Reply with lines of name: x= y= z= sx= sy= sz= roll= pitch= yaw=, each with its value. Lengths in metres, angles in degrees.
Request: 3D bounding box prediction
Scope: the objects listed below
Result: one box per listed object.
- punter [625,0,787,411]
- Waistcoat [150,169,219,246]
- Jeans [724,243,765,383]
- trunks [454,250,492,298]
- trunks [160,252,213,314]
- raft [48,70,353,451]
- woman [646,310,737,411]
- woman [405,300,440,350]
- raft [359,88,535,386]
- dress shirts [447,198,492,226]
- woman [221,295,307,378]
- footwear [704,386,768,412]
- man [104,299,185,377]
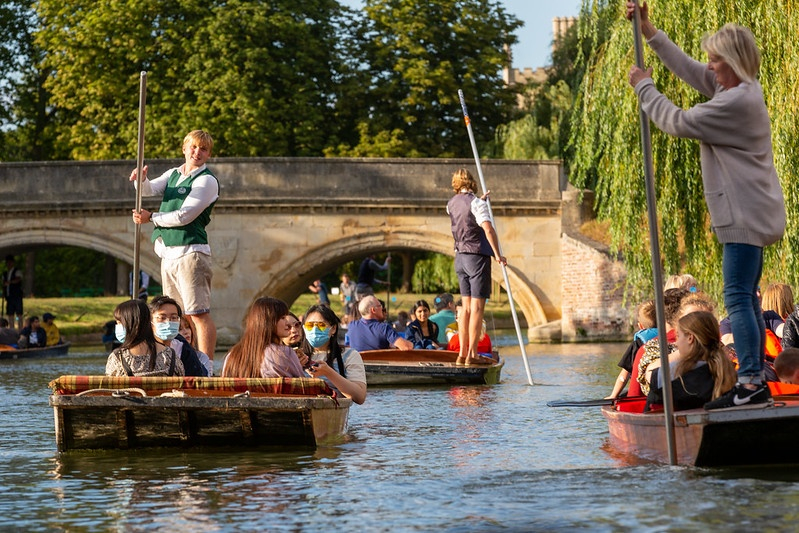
punter: x=4.927 y=-0.858 z=29.625 sx=2.091 sy=5.615 sz=1.294 roll=7 pitch=15 yaw=27
Waistcoat: x=-3.696 y=-1.013 z=32.383 sx=1.123 sy=1.503 sz=0.817 roll=-2 pitch=-15 yaw=36
Jeans: x=5.306 y=0.684 z=29.462 sx=0.666 sy=2.072 sz=0.665 roll=2 pitch=14 yaw=9
trunks: x=1.318 y=0.172 z=34.835 sx=0.661 sy=0.838 sz=0.681 roll=2 pitch=13 yaw=9
trunks: x=-3.572 y=0.228 z=31.874 sx=0.941 sy=0.944 sz=0.548 roll=-5 pitch=-4 yaw=42
raft: x=-3.290 y=0.361 z=31.008 sx=4.073 sy=4.678 sz=3.064 roll=2 pitch=14 yaw=11
woman: x=4.564 y=1.479 z=29.845 sx=1.428 sy=1.422 sz=0.888 roll=0 pitch=6 yaw=-16
woman: x=0.450 y=1.146 z=36.887 sx=0.626 sy=1.025 sz=0.967 roll=-3 pitch=4 yaw=-2
raft: x=1.133 y=-1.141 z=45.719 sx=0.177 sy=8.293 sz=0.349 roll=-12 pitch=-9 yaw=-28
dress shirts: x=1.377 y=-1.014 z=34.804 sx=0.570 sy=0.586 sz=0.248 roll=22 pitch=41 yaw=37
woman: x=-2.171 y=1.118 z=30.505 sx=1.264 sy=1.247 sz=0.479 roll=-1 pitch=13 yaw=-3
footwear: x=5.135 y=1.992 z=29.458 sx=1.022 sy=0.411 sz=0.339 roll=-1 pitch=-9 yaw=2
man: x=-4.076 y=1.132 z=30.881 sx=1.139 sy=1.173 sz=0.599 roll=-8 pitch=16 yaw=-7
